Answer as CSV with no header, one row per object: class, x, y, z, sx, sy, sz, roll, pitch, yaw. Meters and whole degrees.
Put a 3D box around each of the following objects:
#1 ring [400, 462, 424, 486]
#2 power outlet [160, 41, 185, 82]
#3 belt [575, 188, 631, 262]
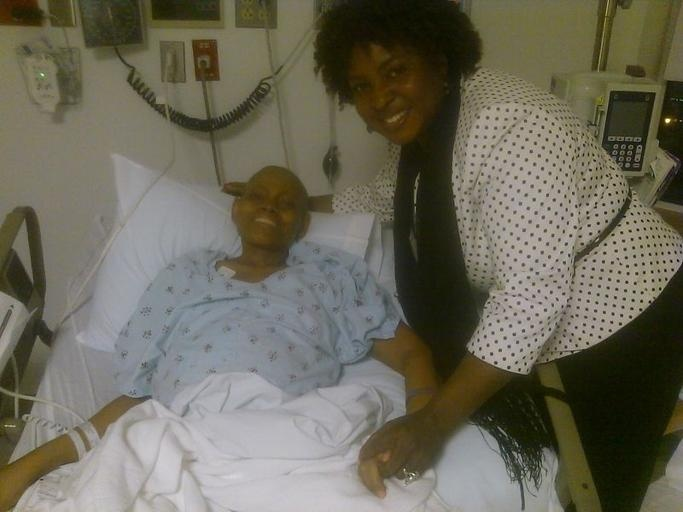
ring,0.159,0.490,1.251,0.037,0.044,0.011,6,30,-1
power outlet,-0.422,-0.480,1.354,0.062,0.101,0.009,0,-5,-10
belt,0.608,-0.065,1.267,0.032,0.144,0.142,29,69,16
